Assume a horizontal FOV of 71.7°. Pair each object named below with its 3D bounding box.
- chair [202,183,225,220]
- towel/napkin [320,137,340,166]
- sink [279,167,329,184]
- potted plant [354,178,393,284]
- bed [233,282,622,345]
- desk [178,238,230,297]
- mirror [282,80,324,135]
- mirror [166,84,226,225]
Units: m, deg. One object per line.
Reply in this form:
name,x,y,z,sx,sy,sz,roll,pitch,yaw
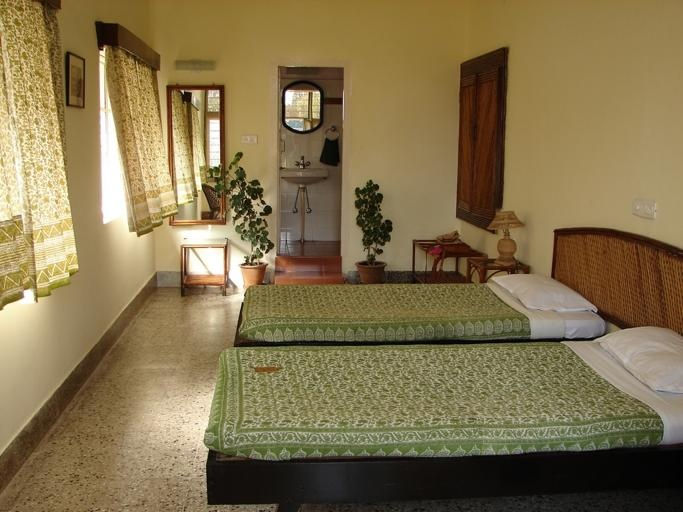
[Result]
chair,-1.725,-0.745,6.332,0.365,0.503,0.374,-4,11,-12
towel/napkin,-0.216,-1.899,8.376,0.449,0.621,0.088,3,21,0
sink,-0.647,-1.391,8.226,0.803,0.299,0.588,0,13,-2
potted plant,0.431,-0.320,6.385,0.527,1.421,0.472,0,13,2
bed,0.367,0.454,3.570,1.716,0.188,1.023,-2,7,-2
desk,-1.823,0.168,6.393,0.814,0.942,0.663,-1,4,-4
mirror,-0.672,-2.660,8.222,0.790,1.135,0.054,0,10,-6
mirror,-1.899,-1.320,6.207,0.784,1.810,0.370,-5,14,-20
